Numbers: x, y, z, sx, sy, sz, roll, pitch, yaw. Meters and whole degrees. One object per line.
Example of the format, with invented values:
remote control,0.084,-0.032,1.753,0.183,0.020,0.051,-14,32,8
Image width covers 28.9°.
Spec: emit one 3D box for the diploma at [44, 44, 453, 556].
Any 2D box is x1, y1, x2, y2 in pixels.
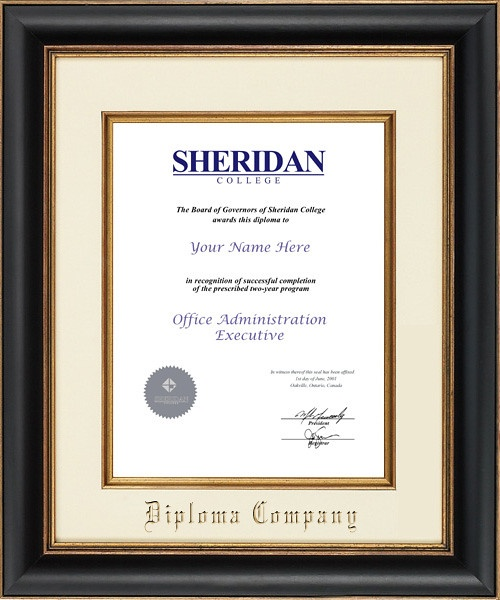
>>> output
diploma,-0.007,0.010,1.423,0.621,0.062,0.857,0,-91,2
